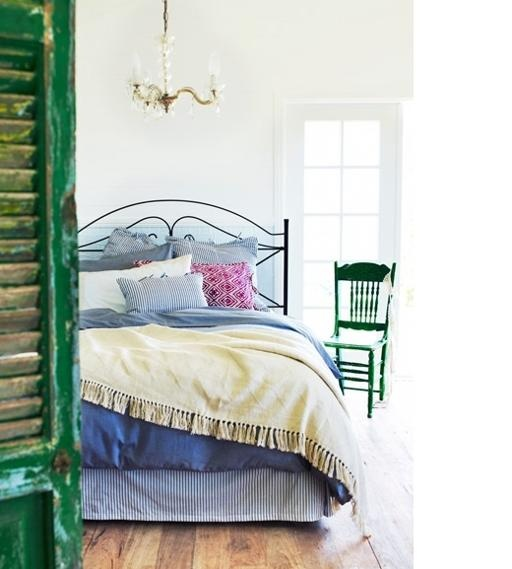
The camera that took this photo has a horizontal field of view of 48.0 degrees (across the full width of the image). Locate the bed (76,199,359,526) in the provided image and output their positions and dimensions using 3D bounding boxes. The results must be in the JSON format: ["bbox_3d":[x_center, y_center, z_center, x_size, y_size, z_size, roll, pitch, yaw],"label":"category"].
[{"bbox_3d":[-0.295,0.273,2.701,1.099,1.069,1.882,-1,6,-11],"label":"bed"}]

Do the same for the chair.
[{"bbox_3d":[0.571,0.299,3.416,0.429,0.890,0.458,2,4,11],"label":"chair"}]
